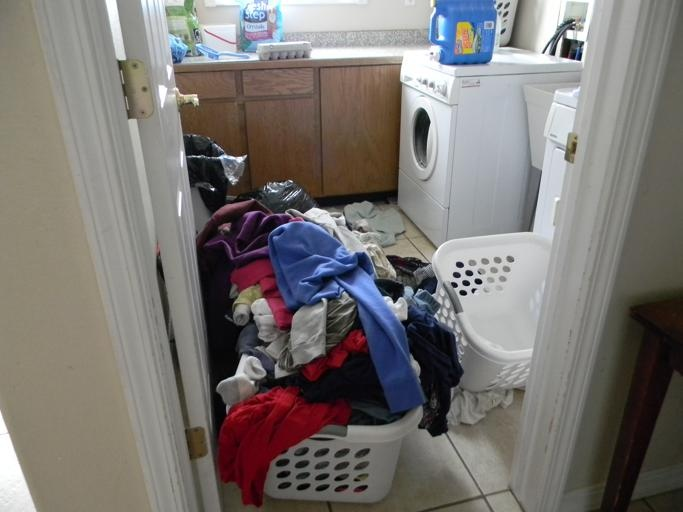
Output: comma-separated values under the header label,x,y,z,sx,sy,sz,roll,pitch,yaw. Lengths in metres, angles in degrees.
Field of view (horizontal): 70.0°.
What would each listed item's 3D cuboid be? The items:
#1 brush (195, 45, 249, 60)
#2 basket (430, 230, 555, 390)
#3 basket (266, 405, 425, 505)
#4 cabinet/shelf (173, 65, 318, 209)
label,x,y,z,sx,sy,sz,roll,pitch,yaw
brush,-0.756,-1.255,3.026,0.276,0.070,0.156,3,30,-13
basket,0.635,0.270,2.089,0.465,0.306,0.651,-5,35,-5
basket,-0.006,0.638,1.521,0.390,0.223,0.328,-4,16,-1
cabinet/shelf,-0.496,-0.901,3.410,1.174,1.239,0.643,-7,27,-15
